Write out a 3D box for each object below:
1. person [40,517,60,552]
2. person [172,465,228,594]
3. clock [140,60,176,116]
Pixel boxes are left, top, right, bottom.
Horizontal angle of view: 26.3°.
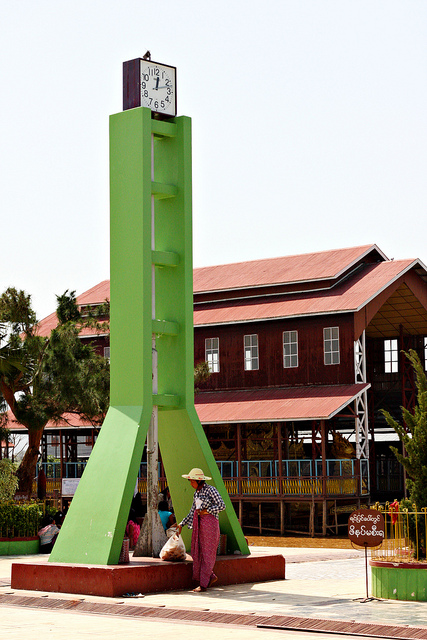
[{"bbox_3d":[-3.227,4.186,17.824,0.344,0.593,0.882,3,-15,-10],"label":"person"},{"bbox_3d":[-0.147,2.407,10.481,0.532,1.387,0.999,1,-14,-2],"label":"person"},{"bbox_3d":[-0.781,-3.203,12.499,0.514,0.090,0.742,11,-54,9],"label":"clock"}]
